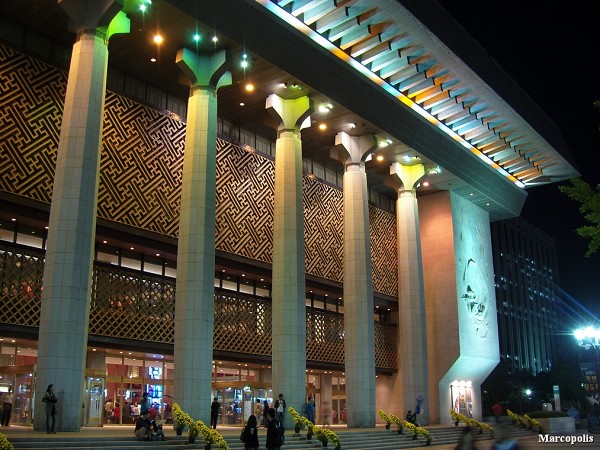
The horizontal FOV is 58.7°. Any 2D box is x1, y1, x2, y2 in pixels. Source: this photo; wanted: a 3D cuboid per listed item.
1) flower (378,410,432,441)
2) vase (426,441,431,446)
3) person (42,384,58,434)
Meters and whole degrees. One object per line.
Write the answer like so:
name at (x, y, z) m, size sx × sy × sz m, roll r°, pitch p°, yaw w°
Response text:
flower at (4.901, 9.268, 24.187) m, size 2.025 × 1.297 × 1.105 m, roll -5°, pitch -22°, yaw 12°
vase at (5.724, 9.711, 23.759) m, size 0.205 × 0.240 × 0.864 m, roll -5°, pitch -23°, yaw 12°
person at (-7.302, 5.318, 15.530) m, size 0.462 × 1.342 × 0.628 m, roll 8°, pitch -23°, yaw -19°
